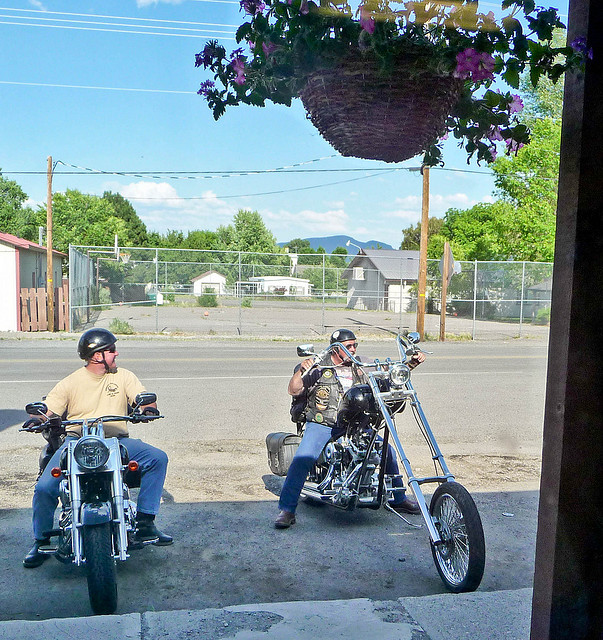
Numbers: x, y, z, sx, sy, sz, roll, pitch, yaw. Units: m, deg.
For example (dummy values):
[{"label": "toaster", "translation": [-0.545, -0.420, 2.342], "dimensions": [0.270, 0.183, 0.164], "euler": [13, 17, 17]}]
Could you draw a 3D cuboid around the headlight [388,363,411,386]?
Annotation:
[{"label": "headlight", "translation": [0.608, 0.327, 5.103], "dimensions": [0.134, 0.140, 0.225], "euler": [0, 3, 6]}]

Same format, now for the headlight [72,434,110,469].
[{"label": "headlight", "translation": [-1.139, 0.703, 4.420], "dimensions": [0.190, 0.165, 0.102], "euler": [-1, 3, -15]}]

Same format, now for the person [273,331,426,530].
[{"label": "person", "translation": [0.306, 0.749, 5.938], "dimensions": [1.110, 1.389, 0.835], "euler": [-1, -1, -14]}]

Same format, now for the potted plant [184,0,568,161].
[{"label": "potted plant", "translation": [0.323, -0.922, 2.999], "dimensions": [1.156, 0.590, 0.836], "euler": [0, 3, -6]}]

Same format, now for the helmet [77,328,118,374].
[{"label": "helmet", "translation": [-1.316, 0.180, 5.253], "dimensions": [0.247, 0.304, 0.237], "euler": [0, 17, -2]}]

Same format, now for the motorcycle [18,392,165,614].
[{"label": "motorcycle", "translation": [-1.131, 0.977, 4.440], "dimensions": [0.583, 0.850, 1.307], "euler": [-2, -3, -8]}]

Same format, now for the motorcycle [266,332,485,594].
[{"label": "motorcycle", "translation": [0.782, 0.856, 5.447], "dimensions": [0.840, 1.156, 2.049], "euler": [-2, -4, -20]}]

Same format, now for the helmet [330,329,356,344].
[{"label": "helmet", "translation": [0.296, 0.104, 6.002], "dimensions": [0.105, 0.112, 0.133], "euler": [-6, 12, -44]}]
